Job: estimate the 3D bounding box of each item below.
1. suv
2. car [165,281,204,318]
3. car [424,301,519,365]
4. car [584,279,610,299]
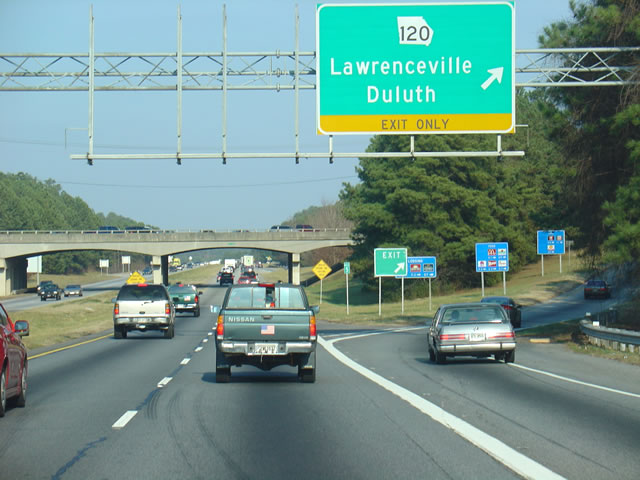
[{"bbox_3d":[-7.089,2.809,39.377,1.383,1.470,2.952,0,3,-2],"label":"suv"},{"bbox_3d":[-8.047,3.654,60.002,1.355,1.395,2.813,0,3,2],"label":"car"},{"bbox_3d":[4.640,2.902,30.231,2.572,1.871,1.905,-1,0,14],"label":"car"},{"bbox_3d":[19.485,3.495,69.658,1.643,1.396,2.006,-1,0,16],"label":"car"}]
